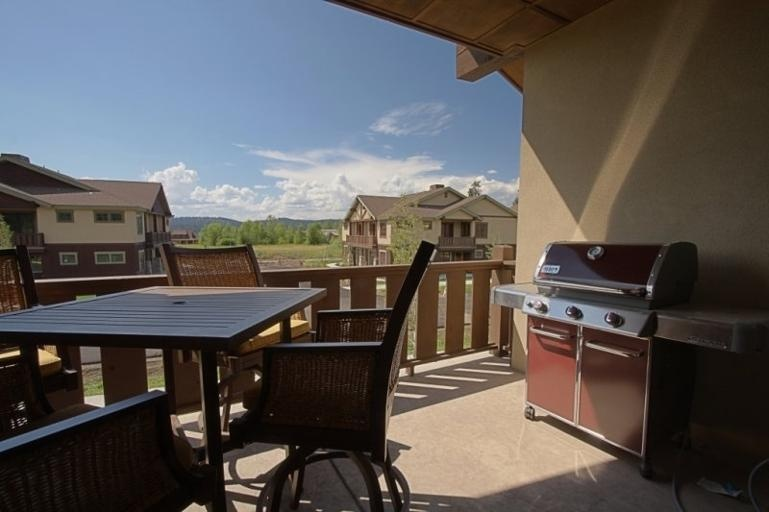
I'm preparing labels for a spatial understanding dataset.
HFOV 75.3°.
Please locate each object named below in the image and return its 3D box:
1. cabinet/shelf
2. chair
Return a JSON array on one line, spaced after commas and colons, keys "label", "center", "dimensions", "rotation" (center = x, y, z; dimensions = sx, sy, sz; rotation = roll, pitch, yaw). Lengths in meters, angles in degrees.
[{"label": "cabinet/shelf", "center": [1.724, 0.869, 3.849], "dimensions": [0.873, 1.074, 1.079], "rotation": [-2, 5, -29]}, {"label": "chair", "center": [-0.959, 0.642, 2.692], "dimensions": [2.185, 1.389, 1.353], "rotation": [1, 2, 14]}]
